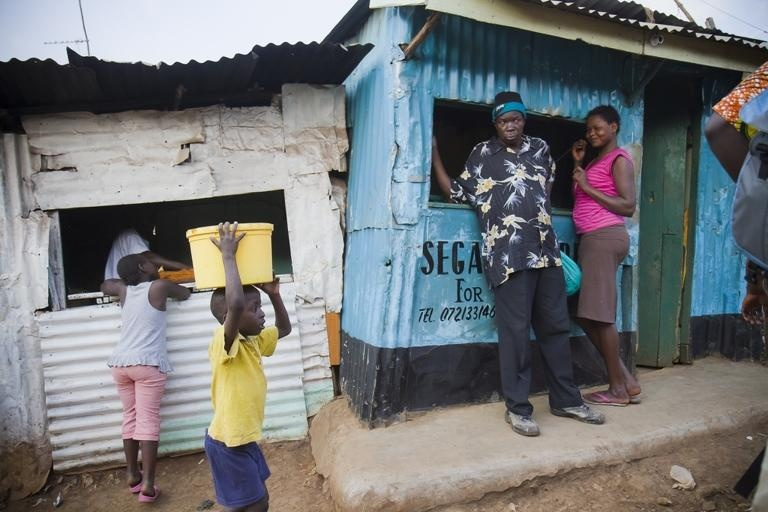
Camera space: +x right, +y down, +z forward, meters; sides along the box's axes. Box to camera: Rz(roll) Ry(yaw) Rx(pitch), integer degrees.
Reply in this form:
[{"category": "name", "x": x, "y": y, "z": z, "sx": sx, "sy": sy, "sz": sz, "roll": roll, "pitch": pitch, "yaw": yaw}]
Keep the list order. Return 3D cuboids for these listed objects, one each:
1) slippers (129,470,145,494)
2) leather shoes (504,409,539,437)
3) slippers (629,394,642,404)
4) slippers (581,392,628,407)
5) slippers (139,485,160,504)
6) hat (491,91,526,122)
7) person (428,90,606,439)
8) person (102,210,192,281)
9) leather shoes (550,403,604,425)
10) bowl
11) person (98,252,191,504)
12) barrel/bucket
[{"category": "slippers", "x": -2.641, "y": 2.463, "z": 7.073, "sx": 0.140, "sy": 0.218, "sz": 0.182, "roll": -4, "pitch": 6, "yaw": -23}, {"category": "leather shoes", "x": 1.377, "y": 1.676, "z": 6.627, "sx": 0.145, "sy": 0.170, "sz": 0.367, "roll": -1, "pitch": -2, "yaw": -27}, {"category": "slippers", "x": 2.697, "y": 1.540, "z": 7.105, "sx": 0.095, "sy": 0.039, "sz": 0.099, "roll": -6, "pitch": 9, "yaw": 4}, {"category": "slippers", "x": 2.384, "y": 1.512, "z": 7.071, "sx": 0.325, "sy": 0.094, "sz": 0.178, "roll": 4, "pitch": -4, "yaw": 8}, {"category": "slippers", "x": -2.473, "y": 2.549, "z": 7.011, "sx": 0.114, "sy": 0.103, "sz": 0.233, "roll": 3, "pitch": 10, "yaw": 7}, {"category": "hat", "x": 1.285, "y": -1.541, "z": 6.819, "sx": 0.303, "sy": 0.248, "sz": 0.301, "roll": 7, "pitch": -10, "yaw": -37}, {"category": "person", "x": 1.408, "y": 0.037, "z": 6.716, "sx": 1.319, "sy": 3.407, "sz": 0.713, "roll": -1, "pitch": 5, "yaw": 6}, {"category": "person", "x": -2.735, "y": -0.061, "z": 7.898, "sx": 0.863, "sy": 0.576, "sz": 0.584, "roll": 3, "pitch": -1, "yaw": -10}, {"category": "leather shoes", "x": 2.007, "y": 1.614, "z": 6.818, "sx": 0.494, "sy": 0.211, "sz": 0.183, "roll": 4, "pitch": 3, "yaw": 18}, {"category": "bowl", "x": -1.249, "y": -0.059, "z": 5.965, "sx": 0.584, "sy": 0.451, "sz": 0.547, "roll": -3, "pitch": 8, "yaw": 0}, {"category": "person", "x": -2.572, "y": 1.292, "z": 7.183, "sx": 0.773, "sy": 2.602, "sz": 0.711, "roll": -4, "pitch": 5, "yaw": -19}, {"category": "barrel/bucket", "x": -1.359, "y": 0.058, "z": 5.934, "sx": 0.596, "sy": 0.464, "sz": 0.606, "roll": -6, "pitch": -7, "yaw": -1}]
